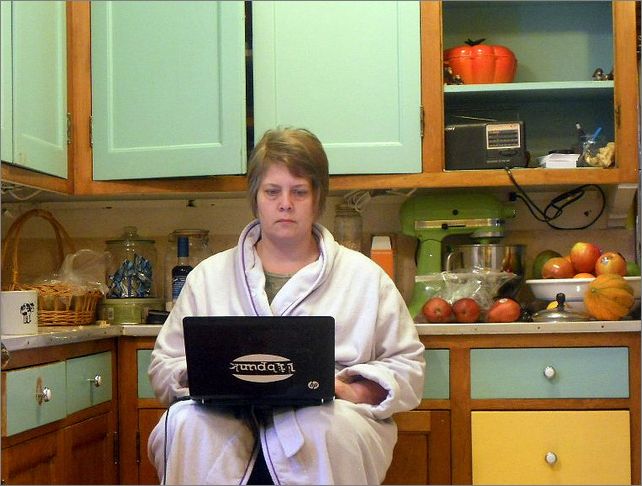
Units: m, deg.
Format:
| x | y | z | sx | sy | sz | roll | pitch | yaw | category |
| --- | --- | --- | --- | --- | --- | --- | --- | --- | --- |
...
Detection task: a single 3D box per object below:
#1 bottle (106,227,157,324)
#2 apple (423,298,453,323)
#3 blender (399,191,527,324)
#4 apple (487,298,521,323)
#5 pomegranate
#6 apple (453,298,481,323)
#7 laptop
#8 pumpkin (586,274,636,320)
| x | y | z | sx | sy | sz | roll | pitch | yaw | category |
| --- | --- | --- | --- | --- | --- | --- | --- | --- | --- |
| -0.760 | 0.155 | 2.711 | 0.181 | 0.449 | 0.188 | 6 | 7 | -1 | bottle |
| 0.422 | 0.247 | 2.490 | 0.091 | 0.087 | 0.106 | 11 | 0 | -1 | apple |
| 0.562 | 0.024 | 2.757 | 0.454 | 0.438 | 0.258 | -3 | 8 | 6 | blender |
| 0.657 | 0.248 | 2.410 | 0.103 | 0.077 | 0.076 | -33 | 37 | -10 | apple |
| 0.986 | 0.056 | 2.532 | 0.255 | 0.143 | 0.210 | 4 | 4 | 16 | pomegranate |
| 0.526 | 0.245 | 2.430 | 0.089 | 0.087 | 0.087 | -4 | -5 | 12 | apple |
| -0.159 | 0.295 | 1.859 | 0.613 | 0.240 | 0.345 | -1 | 1 | -4 | laptop |
| 1.019 | 0.192 | 2.378 | 0.160 | 0.160 | 0.057 | -2 | -2 | 20 | pumpkin |
